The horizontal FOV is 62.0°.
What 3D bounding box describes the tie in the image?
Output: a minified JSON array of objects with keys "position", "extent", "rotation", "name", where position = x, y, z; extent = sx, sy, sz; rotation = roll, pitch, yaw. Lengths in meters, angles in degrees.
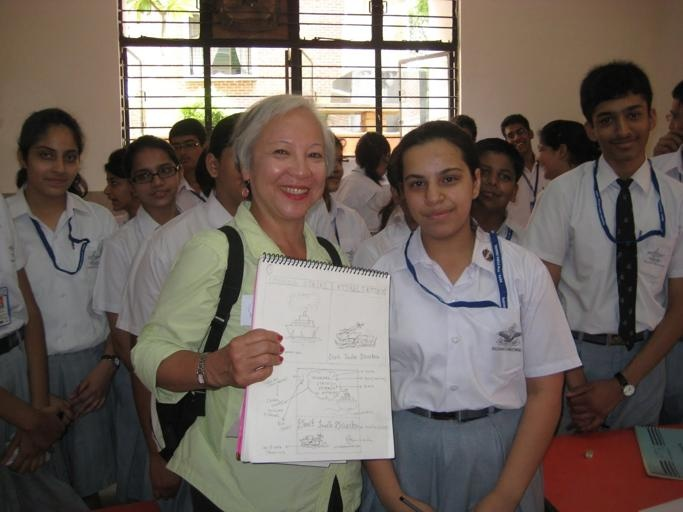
[{"position":[1.346,0.035,2.703],"extent":[0.092,0.779,0.208],"rotation":[2,10,22],"name":"tie"}]
